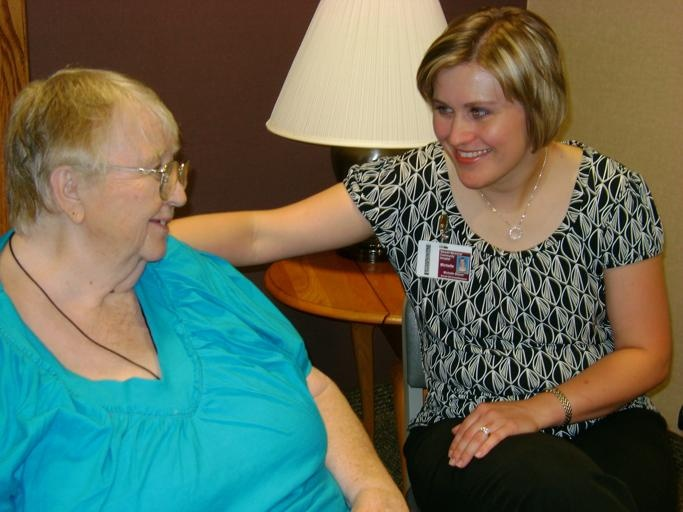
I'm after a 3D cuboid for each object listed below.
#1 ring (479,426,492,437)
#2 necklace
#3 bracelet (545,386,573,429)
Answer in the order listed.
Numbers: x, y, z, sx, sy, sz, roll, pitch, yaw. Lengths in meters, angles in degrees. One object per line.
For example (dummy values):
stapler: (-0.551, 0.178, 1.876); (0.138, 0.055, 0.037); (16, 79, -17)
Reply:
ring: (0.340, 0.411, 1.425); (0.016, 0.011, 0.022); (-7, 45, -23)
necklace: (0.451, -0.161, 1.579); (0.224, 0.248, 0.019); (-10, -12, 11)
bracelet: (0.543, 0.378, 1.492); (0.036, 0.103, 0.049); (-12, 7, -13)
